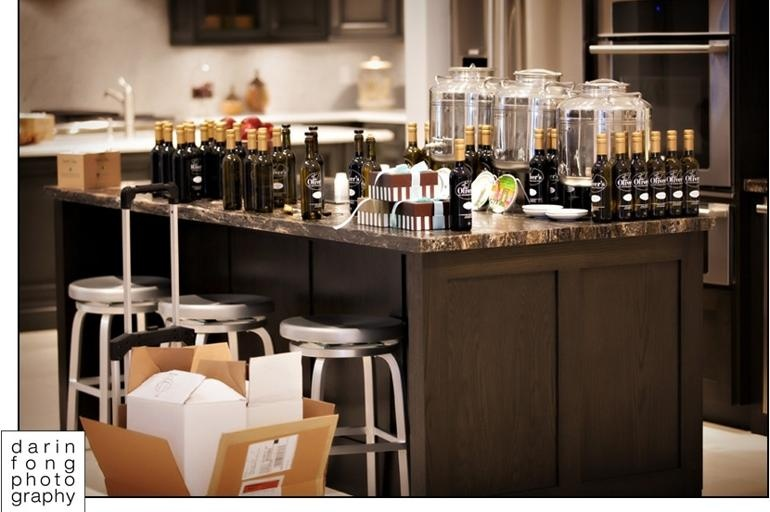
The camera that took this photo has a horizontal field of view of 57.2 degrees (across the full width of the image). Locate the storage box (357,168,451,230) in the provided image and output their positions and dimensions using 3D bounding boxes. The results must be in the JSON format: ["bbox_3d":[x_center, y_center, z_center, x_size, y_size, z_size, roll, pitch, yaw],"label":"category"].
[{"bbox_3d":[0.096,-0.240,2.703,0.253,0.169,0.252,-7,13,-30],"label":"storage box"}]

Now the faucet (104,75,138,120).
[{"bbox_3d":[-2.093,-1.260,5.557,0.238,0.369,0.534,-4,8,-20],"label":"faucet"}]

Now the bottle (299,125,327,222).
[{"bbox_3d":[-0.320,-0.359,3.080,0.098,0.378,0.290,-2,7,-6],"label":"bottle"}]

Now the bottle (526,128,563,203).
[{"bbox_3d":[0.693,-0.389,3.065,0.136,0.319,0.108,0,7,6],"label":"bottle"}]

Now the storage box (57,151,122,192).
[{"bbox_3d":[-1.681,-0.477,4.011,0.253,0.199,0.259,5,6,40],"label":"storage box"}]

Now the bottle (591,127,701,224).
[{"bbox_3d":[1.049,-0.317,2.881,0.379,0.332,0.075,-4,6,-25],"label":"bottle"}]

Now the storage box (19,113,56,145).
[{"bbox_3d":[-2.518,-0.912,5.109,0.223,0.211,0.242,-5,9,-27],"label":"storage box"}]

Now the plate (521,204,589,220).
[{"bbox_3d":[0.709,-0.184,2.930,0.264,0.059,0.213,1,9,15],"label":"plate"}]

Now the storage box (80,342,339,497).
[{"bbox_3d":[-0.637,0.603,2.587,0.688,0.693,0.632,-3,2,-45],"label":"storage box"}]

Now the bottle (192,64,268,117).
[{"bbox_3d":[-1.365,-1.471,6.239,0.715,0.440,0.128,-8,9,-40],"label":"bottle"}]

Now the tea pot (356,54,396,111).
[{"bbox_3d":[-0.059,-1.685,6.948,0.460,0.671,0.434,1,1,0],"label":"tea pot"}]
